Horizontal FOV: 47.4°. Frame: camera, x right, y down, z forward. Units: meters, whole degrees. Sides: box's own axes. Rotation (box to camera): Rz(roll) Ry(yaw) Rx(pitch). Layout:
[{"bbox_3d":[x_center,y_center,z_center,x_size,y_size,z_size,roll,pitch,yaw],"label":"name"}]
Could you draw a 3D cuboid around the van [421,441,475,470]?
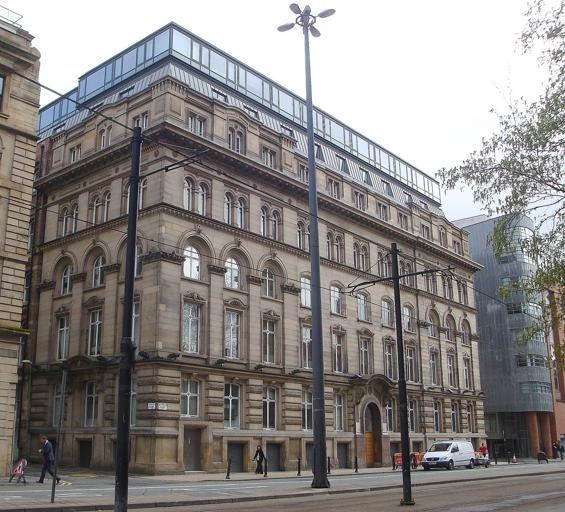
[{"bbox_3d":[11.822,14.288,46.163,2.044,1.656,4.227,-18,-32,33],"label":"van"}]
